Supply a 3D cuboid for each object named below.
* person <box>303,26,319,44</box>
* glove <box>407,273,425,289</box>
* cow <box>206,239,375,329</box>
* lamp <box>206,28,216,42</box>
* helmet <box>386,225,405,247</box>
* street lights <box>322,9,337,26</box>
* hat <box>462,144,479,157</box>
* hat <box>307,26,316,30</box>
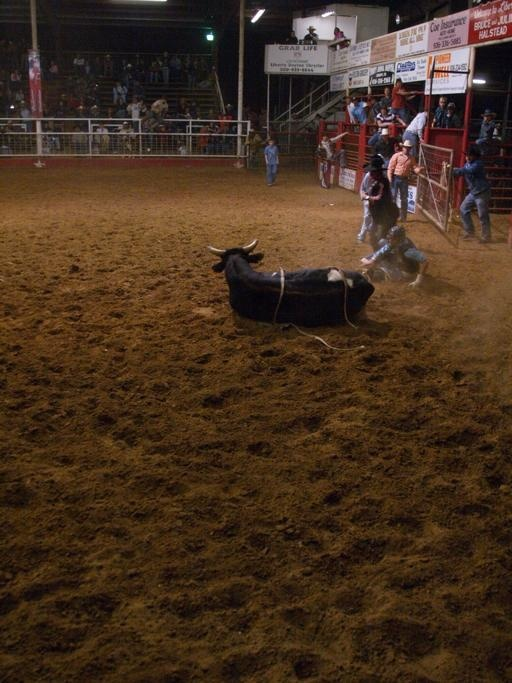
[{"bbox_3d":[2.837,-15.742,27.528,0.664,1.043,1.007,-4,16,-15],"label":"person"},{"bbox_3d":[2.183,-0.832,7.363,0.068,0.056,0.246,26,-20,12],"label":"glove"},{"bbox_3d":[0.667,-0.621,6.501,2.452,1.327,0.804,4,4,2],"label":"cow"},{"bbox_3d":[-2.754,-18.506,32.563,0.347,0.791,1.463,-4,16,-15],"label":"lamp"},{"bbox_3d":[1.883,-1.397,7.214,0.239,0.286,0.353,4,16,15],"label":"helmet"},{"bbox_3d":[3.715,-16.390,27.236,0.661,0.706,0.845,-5,16,-17],"label":"street lights"},{"bbox_3d":[4.005,-3.492,9.936,0.209,0.257,0.456,7,16,24],"label":"hat"},{"bbox_3d":[2.890,-16.189,27.684,0.373,0.173,0.473,-7,21,-10],"label":"hat"}]
